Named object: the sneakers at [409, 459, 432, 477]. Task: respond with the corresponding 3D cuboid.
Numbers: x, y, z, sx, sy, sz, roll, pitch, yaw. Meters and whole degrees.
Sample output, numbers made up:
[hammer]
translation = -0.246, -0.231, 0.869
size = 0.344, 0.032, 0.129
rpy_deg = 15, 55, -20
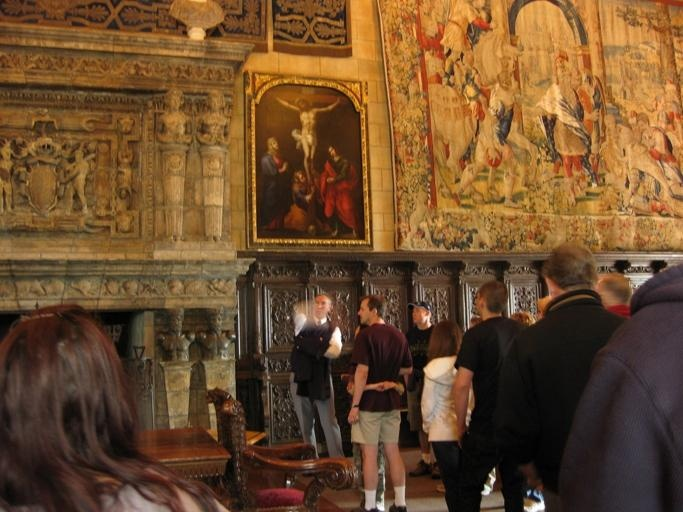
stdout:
[sneakers]
translation = 0.884, 2.502, 11.700
size = 0.357, 0.164, 0.114
rpy_deg = 13, -20, -43
